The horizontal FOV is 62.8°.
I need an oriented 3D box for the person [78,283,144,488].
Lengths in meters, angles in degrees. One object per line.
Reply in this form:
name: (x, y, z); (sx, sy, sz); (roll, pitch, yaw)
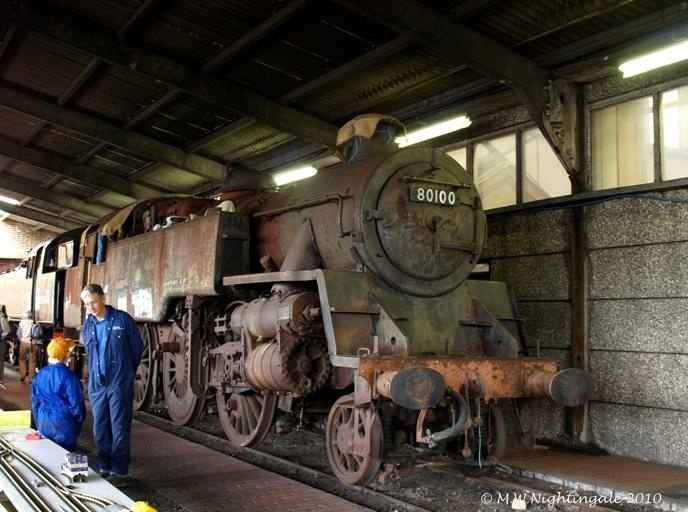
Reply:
person: (-2.727, 1.442, 6.569); (0.666, 2.203, 0.404); (3, -5, -17)

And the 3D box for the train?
train: (-2.561, 0.785, 11.442); (3.695, 4.578, 12.862); (2, -5, -31)

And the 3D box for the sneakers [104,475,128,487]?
sneakers: (-2.541, 2.528, 6.400); (0.297, 0.136, 0.111); (14, -11, -19)

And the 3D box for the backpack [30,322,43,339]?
backpack: (-8.393, 2.043, 15.428); (0.283, 0.556, 0.385); (-10, -11, 37)

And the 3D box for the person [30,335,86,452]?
person: (-3.184, 1.541, 6.329); (0.540, 1.245, 0.299); (3, -5, -21)
